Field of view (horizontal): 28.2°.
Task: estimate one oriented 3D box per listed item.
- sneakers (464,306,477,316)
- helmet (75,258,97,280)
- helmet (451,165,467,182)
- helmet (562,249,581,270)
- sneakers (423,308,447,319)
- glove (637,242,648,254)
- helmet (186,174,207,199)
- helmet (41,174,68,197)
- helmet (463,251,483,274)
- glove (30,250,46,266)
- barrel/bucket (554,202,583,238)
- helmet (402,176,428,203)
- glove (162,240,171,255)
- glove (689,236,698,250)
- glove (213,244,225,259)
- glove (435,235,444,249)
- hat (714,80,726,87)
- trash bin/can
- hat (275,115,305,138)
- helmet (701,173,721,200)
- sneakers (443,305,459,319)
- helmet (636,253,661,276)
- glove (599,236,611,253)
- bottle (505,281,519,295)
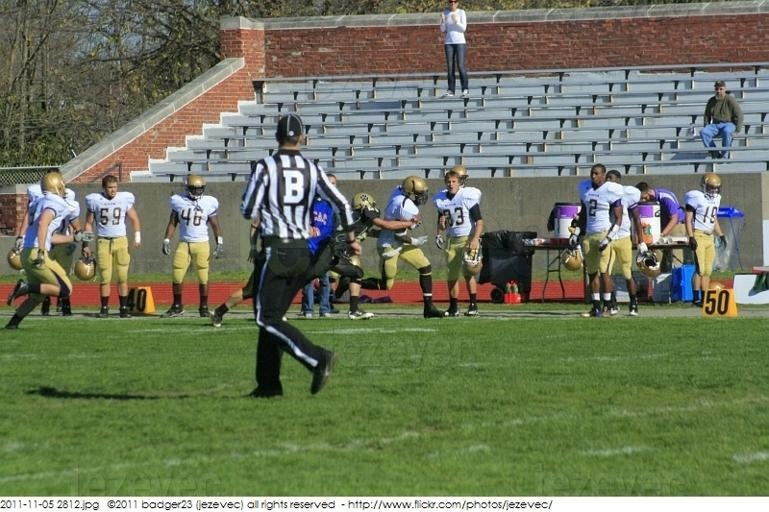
[{"bbox_3d":[1.676,1.058,29.875,0.265,0.205,0.360,0,-2,2],"label":"sneakers"},{"bbox_3d":[-6.105,0.241,30.784,0.422,0.406,0.447,0,-22,19],"label":"helmet"},{"bbox_3d":[1.422,-1.571,29.527,0.213,0.329,0.588,0,-2,18],"label":"helmet"},{"bbox_3d":[3.914,0.051,31.681,0.355,0.411,0.411,5,28,23],"label":"helmet"},{"bbox_3d":[0.932,1.111,29.586,0.498,0.190,0.156,-4,8,1],"label":"sneakers"},{"bbox_3d":[5.084,-0.153,30.202,0.182,0.223,0.086,-3,5,6],"label":"glove"},{"bbox_3d":[-3.732,-1.400,30.139,0.383,0.373,0.481,-3,17,-29],"label":"helmet"},{"bbox_3d":[-6.243,-1.325,28.728,0.379,0.453,0.484,14,23,27],"label":"helmet"},{"bbox_3d":[1.682,0.145,29.298,0.331,0.317,0.407,0,-16,-2],"label":"helmet"},{"bbox_3d":[-6.327,0.019,28.090,0.220,0.275,0.112,2,-2,-37],"label":"glove"},{"bbox_3d":[3.779,-0.755,32.115,0.677,0.678,0.644,0,-3,0],"label":"barrel/bucket"},{"bbox_3d":[0.608,-1.342,29.627,0.566,0.485,0.457,-7,27,-8],"label":"helmet"},{"bbox_3d":[-4.348,-0.142,30.396,0.133,0.338,0.258,2,31,-5],"label":"glove"},{"bbox_3d":[6.054,-0.248,30.142,0.180,0.236,0.107,1,-2,-26],"label":"glove"},{"bbox_3d":[-3.580,-0.087,33.034,0.224,0.355,0.496,-7,-15,-16],"label":"glove"},{"bbox_3d":[1.062,-0.292,29.686,0.112,0.239,0.405,0,-2,9],"label":"glove"},{"bbox_3d":[7.865,-4.049,35.993,0.248,0.258,0.334,-1,-2,8],"label":"hat"},{"bbox_3d":[2.545,0.148,32.917,1.524,1.570,1.379,0,5,5],"label":"trash bin/can"},{"bbox_3d":[-1.491,-2.068,24.182,0.390,0.285,0.537,0,27,0],"label":"hat"},{"bbox_3d":[6.549,-1.426,30.441,0.378,0.451,0.454,-3,12,-12],"label":"helmet"},{"bbox_3d":[1.318,1.058,29.643,0.389,0.254,0.130,2,31,10],"label":"sneakers"},{"bbox_3d":[5.299,0.130,30.626,0.378,0.362,0.482,-7,29,-8],"label":"helmet"},{"bbox_3d":[4.145,-0.214,28.909,0.120,0.254,0.183,41,-13,-21],"label":"glove"},{"bbox_3d":[2.640,0.678,32.316,0.314,0.404,0.232,1,-8,3],"label":"bottle"}]
